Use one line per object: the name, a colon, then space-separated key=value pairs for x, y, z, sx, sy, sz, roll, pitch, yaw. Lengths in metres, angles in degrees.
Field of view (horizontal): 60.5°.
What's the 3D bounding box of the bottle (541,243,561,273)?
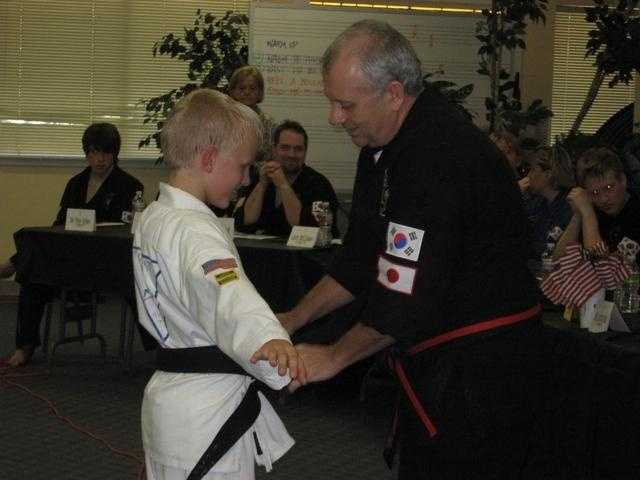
bottle: x=1.219 y=0.093 z=2.887 sx=0.061 sy=0.065 sz=0.237 roll=2 pitch=27 yaw=13
